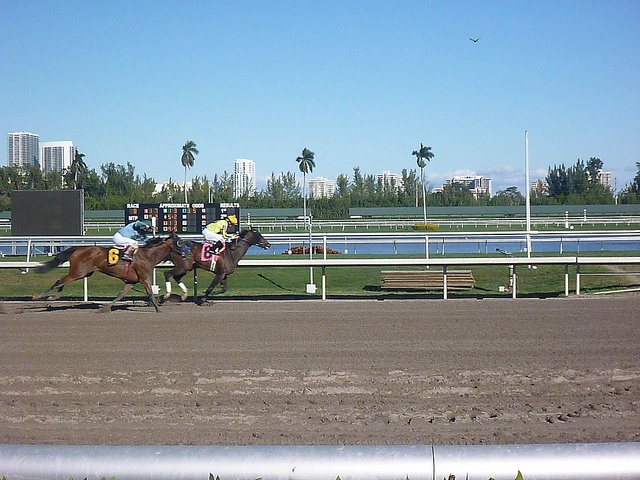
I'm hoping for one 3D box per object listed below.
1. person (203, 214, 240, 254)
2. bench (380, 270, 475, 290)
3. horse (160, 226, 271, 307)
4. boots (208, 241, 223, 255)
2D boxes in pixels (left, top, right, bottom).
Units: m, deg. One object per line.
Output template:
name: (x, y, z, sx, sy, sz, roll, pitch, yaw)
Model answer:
person: (-2.065, -0.094, 27.167, 0.546, 0.232, 0.707, 4, 24, 2)
bench: (2.347, 0.893, 28.132, 1.586, 0.404, 0.375, 0, 25, 3)
horse: (-2.319, 0.510, 26.197, 2.469, 1.672, 0.533, 4, 9, -12)
boots: (-2.057, 0.175, 25.991, 0.328, 0.227, 0.155, -12, 17, -38)
